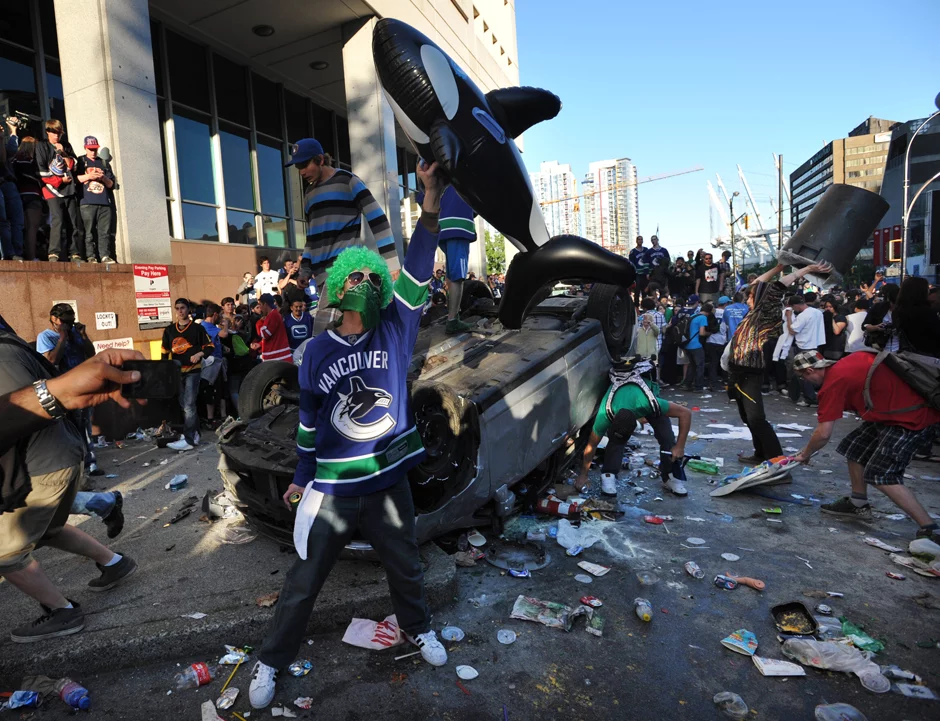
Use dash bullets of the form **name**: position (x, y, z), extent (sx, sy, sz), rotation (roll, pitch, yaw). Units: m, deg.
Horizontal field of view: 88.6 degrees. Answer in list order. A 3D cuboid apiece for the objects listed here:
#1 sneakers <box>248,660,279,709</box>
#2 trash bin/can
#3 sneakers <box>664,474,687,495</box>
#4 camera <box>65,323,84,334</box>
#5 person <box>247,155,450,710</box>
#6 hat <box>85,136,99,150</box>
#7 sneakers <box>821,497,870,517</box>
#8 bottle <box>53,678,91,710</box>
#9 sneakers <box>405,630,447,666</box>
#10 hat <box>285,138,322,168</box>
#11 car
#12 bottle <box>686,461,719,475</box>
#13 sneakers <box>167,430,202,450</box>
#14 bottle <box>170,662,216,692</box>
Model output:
- **sneakers**: position (-1.233, 1.926, 2.912), extent (0.118, 0.106, 0.292), rotation (15, 17, -20)
- **trash bin/can**: position (4.540, -1.670, 6.181), extent (0.848, 0.963, 0.860), rotation (24, 12, 23)
- **sneakers**: position (2.377, 1.443, 5.621), extent (0.118, 0.130, 0.306), rotation (-14, 3, -8)
- **camera**: position (-5.335, -0.453, 6.567), extent (0.172, 0.044, 0.165), rotation (31, 10, 4)
- **person**: position (-0.714, 0.500, 2.953), extent (1.154, 2.994, 0.623), rotation (-2, 9, -4)
- **hat**: position (-5.944, -3.449, 7.626), extent (0.187, 0.109, 0.286), rotation (-23, 54, -32)
- **sneakers**: position (3.768, 1.473, 4.924), extent (0.449, 0.195, 0.169), rotation (3, 12, 37)
- **bottle**: position (-2.424, 2.044, 2.962), extent (0.202, 0.074, 0.125), rotation (13, 14, 30)
- **sneakers**: position (-0.282, 1.863, 3.192), extent (0.280, 0.120, 0.132), rotation (12, 6, 42)
- **hat**: position (-1.568, -1.984, 4.679), extent (0.263, 0.197, 0.364), rotation (20, 40, 22)
- **car**: position (-0.060, 0.392, 4.969), extent (2.115, 1.400, 3.885), rotation (10, 19, 42)
- **bottle**: position (3.019, 1.369, 6.268), extent (0.285, 0.118, 0.295), rotation (-5, 18, 2)
- **sneakers**: position (-4.148, 1.217, 7.251), extent (0.190, 0.260, 0.570), rotation (-18, -8, 20)
- **bottle**: position (-1.770, 2.023, 3.102), extent (0.135, 0.135, 0.149), rotation (-40, -7, 20)
